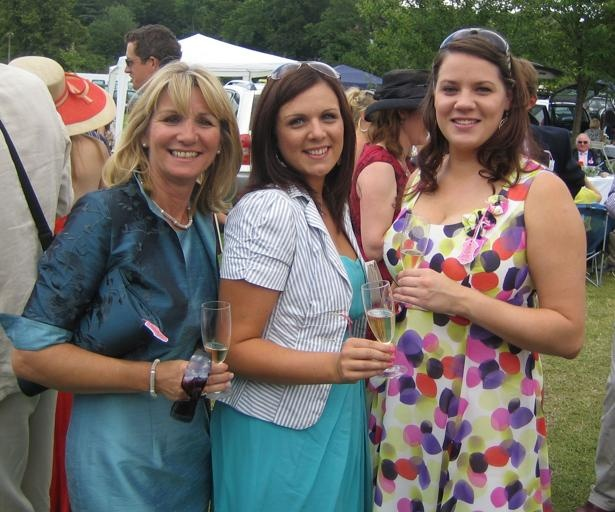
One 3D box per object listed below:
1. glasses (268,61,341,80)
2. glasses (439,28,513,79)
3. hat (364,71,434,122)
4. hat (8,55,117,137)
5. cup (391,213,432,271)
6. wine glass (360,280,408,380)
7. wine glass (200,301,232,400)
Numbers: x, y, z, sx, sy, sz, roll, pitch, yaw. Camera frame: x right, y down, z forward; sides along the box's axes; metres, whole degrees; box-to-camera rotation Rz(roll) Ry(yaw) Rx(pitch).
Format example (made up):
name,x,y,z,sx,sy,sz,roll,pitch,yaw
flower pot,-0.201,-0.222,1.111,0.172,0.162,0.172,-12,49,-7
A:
name,x,y,z,sx,sy,sz,roll,pitch,yaw
glasses,0.001,-0.784,2.641,0.327,0.086,0.177,-3,15,-16
glasses,0.743,-0.901,2.760,0.309,0.216,0.148,4,14,10
hat,0.598,-0.973,4.054,0.361,0.207,0.375,-2,10,29
hat,-1.470,-0.989,3.909,0.599,0.183,0.630,13,49,4
cup,0.459,-0.066,2.788,0.113,0.228,0.152,-9,17,-37
wine glass,0.277,0.241,2.448,0.135,0.254,0.269,2,14,7
wine glass,-0.336,0.286,2.329,0.107,0.238,0.082,-4,14,-20
